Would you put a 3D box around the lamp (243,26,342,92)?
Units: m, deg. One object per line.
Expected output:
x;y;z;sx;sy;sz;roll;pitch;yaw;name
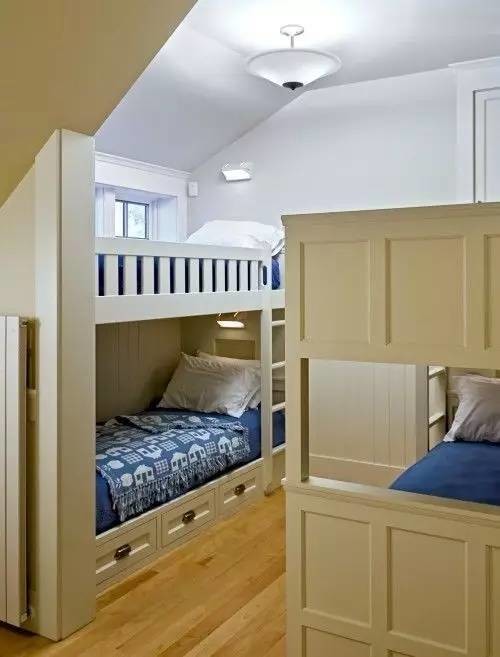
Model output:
0.252;-1.482;2.923;0.552;0.198;0.457;-1;1;-2;lamp
